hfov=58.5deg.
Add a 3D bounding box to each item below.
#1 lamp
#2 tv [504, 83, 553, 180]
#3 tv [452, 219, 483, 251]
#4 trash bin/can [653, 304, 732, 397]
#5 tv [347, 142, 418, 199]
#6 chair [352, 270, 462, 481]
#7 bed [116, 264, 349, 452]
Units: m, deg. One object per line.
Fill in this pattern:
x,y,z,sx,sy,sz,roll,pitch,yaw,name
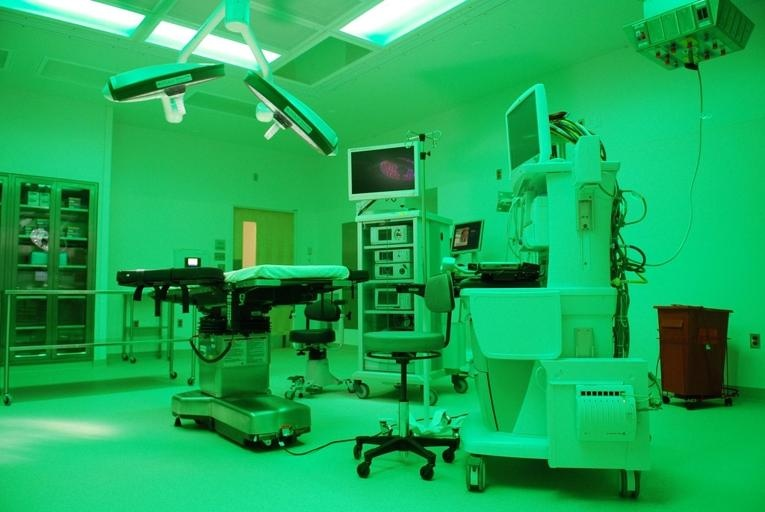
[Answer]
-1.922,-2.069,7.815,2.385,1.422,0.790,7,19,-7,lamp
1.291,-1.093,6.038,0.354,0.717,0.629,0,-3,8,tv
1.106,-0.258,8.837,0.070,0.313,0.494,10,-11,-34,tv
3.292,1.030,7.208,0.697,1.012,0.282,0,-4,13,trash bin/can
0.011,-0.976,7.882,0.924,0.508,0.088,-1,-3,24,tv
0.232,1.028,6.314,0.924,1.713,1.277,0,-3,2,chair
-1.372,0.922,6.771,2.067,1.241,2.025,1,1,-44,bed
